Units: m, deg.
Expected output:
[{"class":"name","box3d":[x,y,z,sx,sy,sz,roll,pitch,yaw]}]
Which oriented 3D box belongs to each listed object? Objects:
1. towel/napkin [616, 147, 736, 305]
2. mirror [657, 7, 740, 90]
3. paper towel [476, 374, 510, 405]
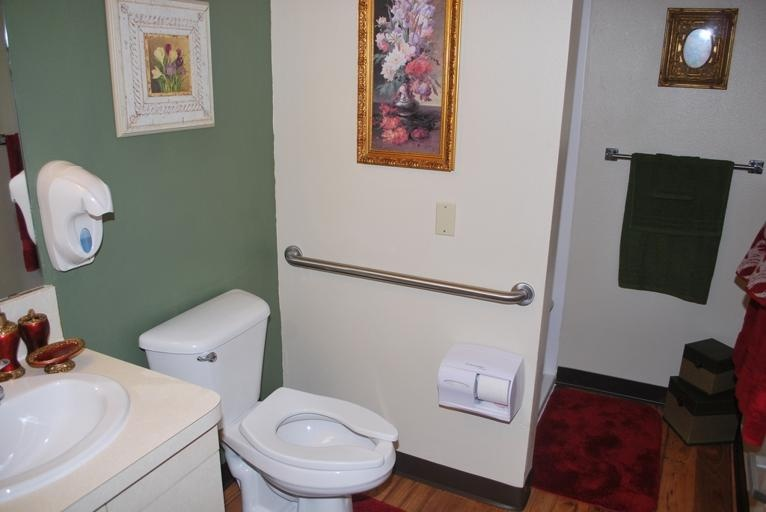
[{"class":"towel/napkin","box3d":[1.697,-0.209,3.217,0.640,1.077,0.193,11,21,28]},{"class":"mirror","box3d":[1.737,-1.151,3.072,0.368,0.478,0.046,7,15,20]},{"class":"paper towel","box3d":[0.499,0.572,2.548,0.153,0.128,0.151,4,2,25]}]
